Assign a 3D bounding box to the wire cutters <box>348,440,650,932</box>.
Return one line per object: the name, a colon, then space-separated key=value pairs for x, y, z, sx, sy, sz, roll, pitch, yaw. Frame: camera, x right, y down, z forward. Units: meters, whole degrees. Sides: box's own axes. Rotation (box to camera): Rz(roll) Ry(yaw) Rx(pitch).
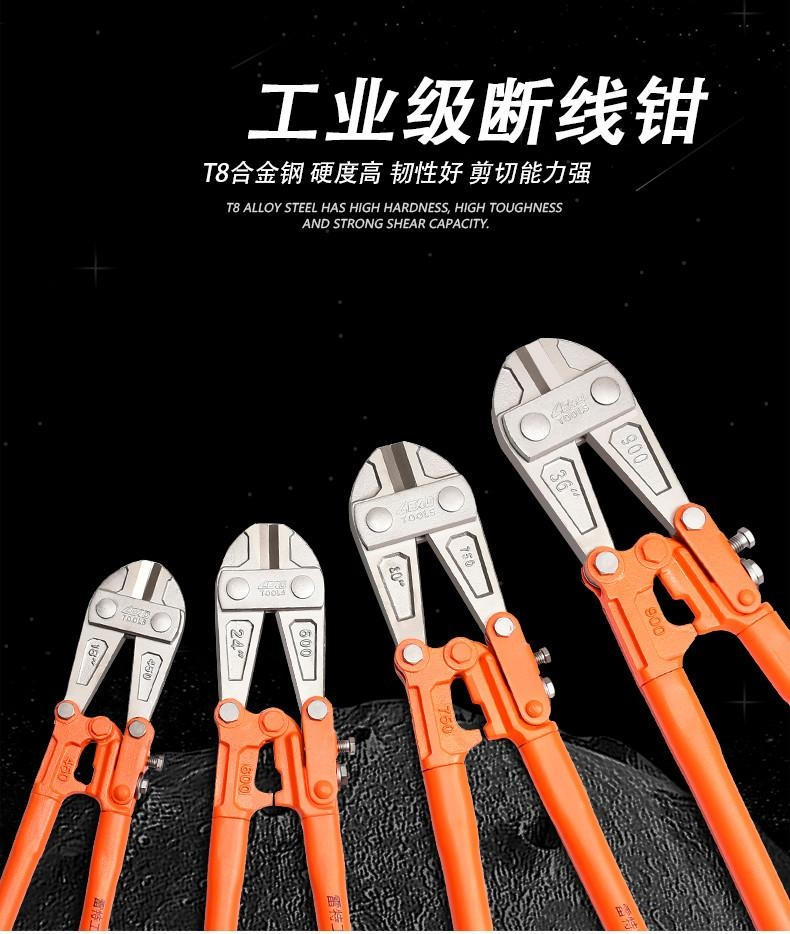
wire cutters: x=0.096 y=0.275 z=1.123 sx=0.236 sy=0.680 sz=0.289 roll=-16 pitch=-48 yaw=-6
